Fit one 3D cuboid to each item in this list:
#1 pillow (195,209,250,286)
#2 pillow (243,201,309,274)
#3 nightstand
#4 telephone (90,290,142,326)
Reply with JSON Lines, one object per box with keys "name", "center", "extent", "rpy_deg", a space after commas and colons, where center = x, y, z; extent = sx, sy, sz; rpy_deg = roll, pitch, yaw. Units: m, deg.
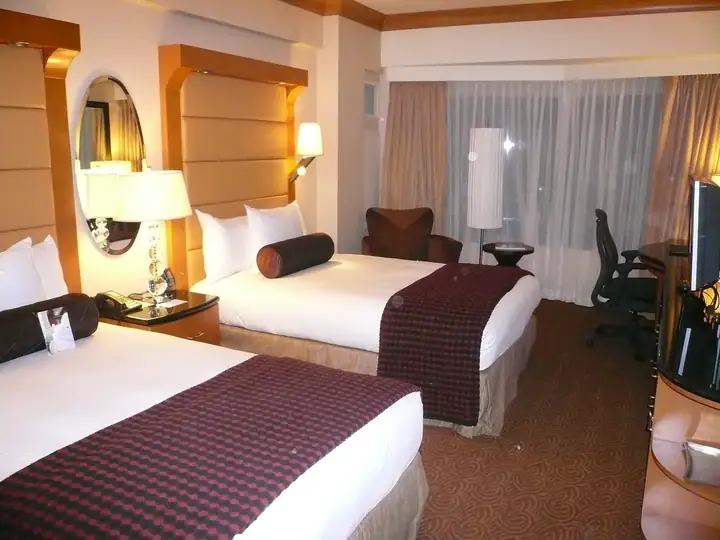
{"name": "pillow", "center": [-1.292, -0.178, 4.539], "extent": [0.214, 0.617, 0.637], "rpy_deg": [-2, 6, 29]}
{"name": "pillow", "center": [-0.834, -0.289, 4.754], "extent": [0.171, 0.486, 0.680], "rpy_deg": [-14, 4, 27]}
{"name": "nightstand", "center": [-1.497, 0.257, 3.721], "extent": [0.427, 0.567, 0.562], "rpy_deg": [6, 12, 24]}
{"name": "telephone", "center": [-1.809, 0.278, 3.599], "extent": [0.274, 0.097, 0.199], "rpy_deg": [6, 13, 16]}
